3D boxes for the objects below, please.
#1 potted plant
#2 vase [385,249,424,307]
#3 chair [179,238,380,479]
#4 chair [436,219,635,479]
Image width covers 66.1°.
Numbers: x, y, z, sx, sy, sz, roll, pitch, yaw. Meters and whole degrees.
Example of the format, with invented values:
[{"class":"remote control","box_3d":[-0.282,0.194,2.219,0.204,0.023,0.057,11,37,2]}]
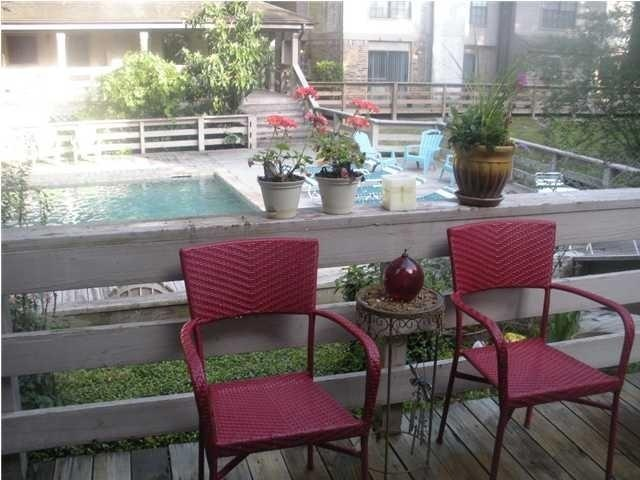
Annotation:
[{"class":"potted plant","box_3d":[0.647,-0.411,1.999,0.265,0.563,0.160,2,17,14]},{"class":"vase","box_3d":[0.283,0.117,1.675,0.142,0.179,0.139,-7,15,-29]},{"class":"chair","box_3d":[-0.155,0.360,1.570,0.538,0.637,0.552,-7,17,-16]},{"class":"chair","box_3d":[0.740,0.380,1.793,0.528,0.825,0.527,-5,17,-10]}]
